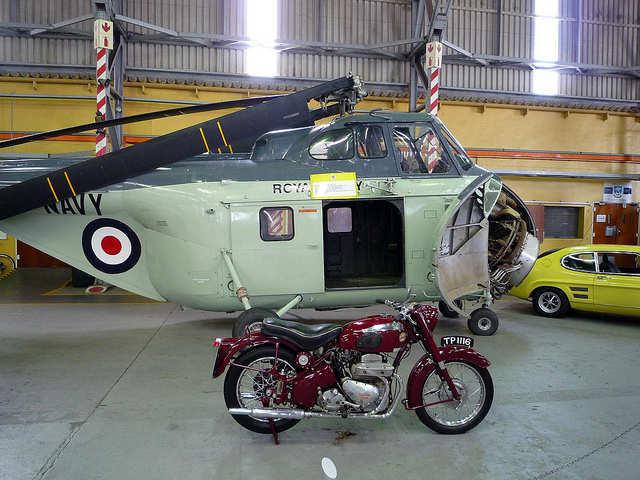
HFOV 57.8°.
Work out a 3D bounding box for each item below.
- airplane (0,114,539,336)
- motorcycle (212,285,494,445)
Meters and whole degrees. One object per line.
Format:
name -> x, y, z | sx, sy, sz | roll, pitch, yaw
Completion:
airplane -> -0.700, -0.339, 12.158 | 11.878, 3.600, 4.001 | 0, -2, -3
motorcycle -> 0.520, 1.805, 8.231 | 4.129, 1.618, 1.133 | 3, -11, -8
